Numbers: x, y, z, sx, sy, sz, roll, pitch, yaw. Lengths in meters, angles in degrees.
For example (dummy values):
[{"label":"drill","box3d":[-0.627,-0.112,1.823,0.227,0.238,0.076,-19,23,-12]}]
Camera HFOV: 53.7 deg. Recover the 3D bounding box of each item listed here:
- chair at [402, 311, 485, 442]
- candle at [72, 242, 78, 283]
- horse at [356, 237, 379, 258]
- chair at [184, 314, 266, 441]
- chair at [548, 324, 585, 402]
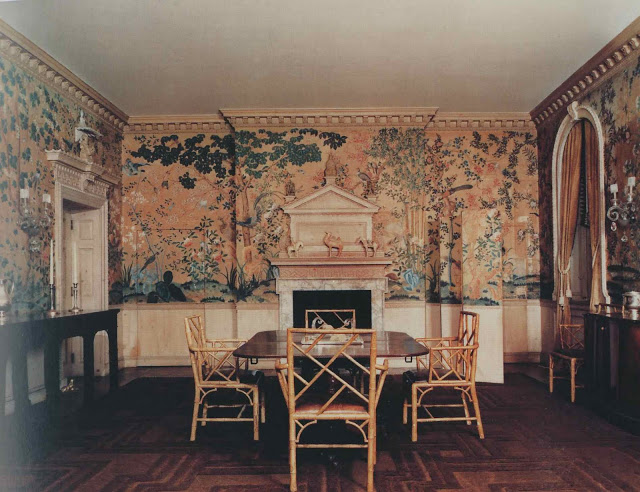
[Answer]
[{"label":"chair","box3d":[1.251,1.293,6.581,0.750,1.277,0.837,-1,-1,11]},{"label":"candle","box3d":[-3.169,0.195,8.217,0.072,0.518,0.044,0,-7,0]},{"label":"horse","box3d":[0.616,0.008,8.314,0.307,0.281,0.161,-4,-8,21]},{"label":"chair","box3d":[-0.951,1.277,6.497,0.722,1.154,0.766,-2,0,-9]},{"label":"chair","box3d":[2.975,1.365,7.653,0.423,0.899,1.361,-3,-9,23]}]
